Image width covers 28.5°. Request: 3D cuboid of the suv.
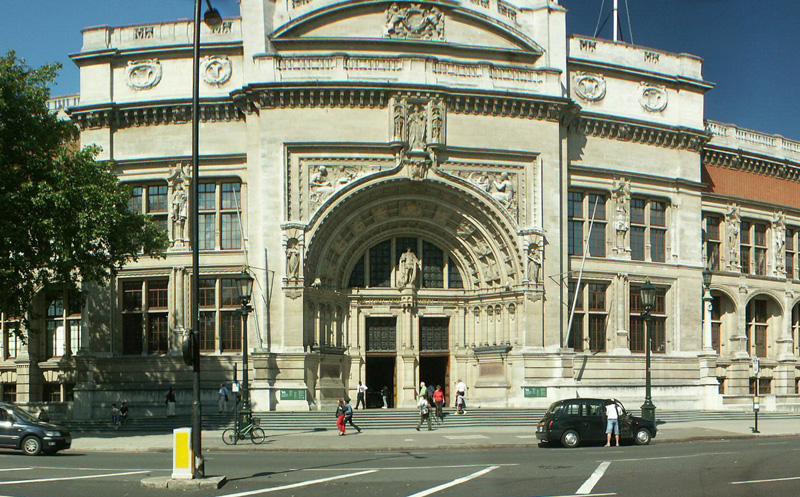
[{"bbox_3d":[11.517,10.461,95.077,6.552,3.038,1.632,2,-11,-8],"label":"suv"}]
